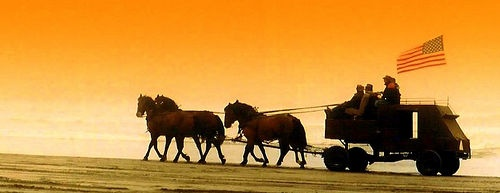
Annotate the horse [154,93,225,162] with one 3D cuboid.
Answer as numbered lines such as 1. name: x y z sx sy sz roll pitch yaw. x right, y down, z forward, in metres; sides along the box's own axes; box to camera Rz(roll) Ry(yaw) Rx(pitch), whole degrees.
1. horse: -5.056 2.257 55.236 8.422 4.311 2.206 1 -5 29

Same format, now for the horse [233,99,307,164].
1. horse: 1.088 2.685 53.907 7.331 3.775 2.037 1 -6 34
